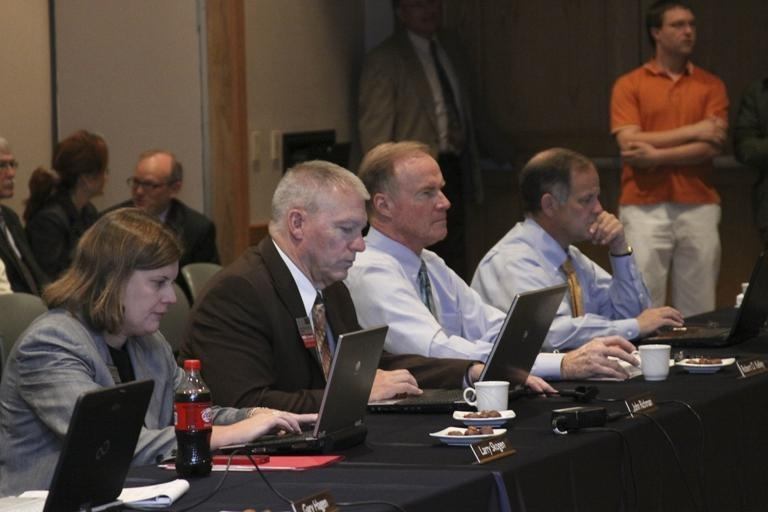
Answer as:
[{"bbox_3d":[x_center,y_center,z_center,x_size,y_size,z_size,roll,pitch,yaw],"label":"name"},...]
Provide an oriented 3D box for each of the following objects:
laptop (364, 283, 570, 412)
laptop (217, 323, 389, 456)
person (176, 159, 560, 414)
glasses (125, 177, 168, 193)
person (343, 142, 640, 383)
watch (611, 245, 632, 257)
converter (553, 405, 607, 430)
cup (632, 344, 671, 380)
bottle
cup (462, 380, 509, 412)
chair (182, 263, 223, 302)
[{"bbox_3d":[0.318,0.332,2.885,0.474,0.314,0.518,-3,-6,23],"label":"laptop"},{"bbox_3d":[-0.243,0.375,2.471,0.392,0.311,0.380,-1,-3,21],"label":"laptop"},{"bbox_3d":[-0.131,0.133,3.241,1.262,0.902,0.976,-4,13,-33],"label":"person"},{"bbox_3d":[-1.614,-0.492,5.650,0.243,0.094,0.054,-2,13,12],"label":"glasses"},{"bbox_3d":[0.384,0.062,3.772,1.378,1.048,0.814,-2,5,-5],"label":"person"},{"bbox_3d":[1.234,-0.017,4.258,0.076,0.035,0.063,-4,-1,36],"label":"watch"},{"bbox_3d":[0.599,0.490,2.509,0.134,0.044,0.073,0,-2,-10],"label":"converter"},{"bbox_3d":[1.004,0.408,3.060,0.137,0.104,0.096,-2,-2,34],"label":"cup"},{"bbox_3d":[-0.541,0.445,2.302,0.115,0.316,0.187,-8,13,-15],"label":"bottle"},{"bbox_3d":[0.336,0.467,2.715,0.137,0.097,0.093,-3,-3,13],"label":"cup"},{"bbox_3d":[-0.902,0.136,4.057,0.213,0.260,0.211,2,-4,-41],"label":"chair"}]
